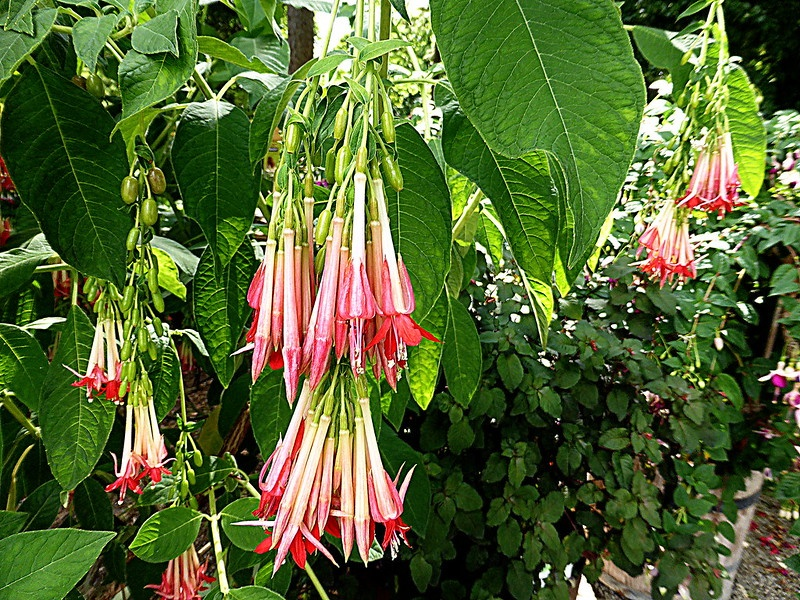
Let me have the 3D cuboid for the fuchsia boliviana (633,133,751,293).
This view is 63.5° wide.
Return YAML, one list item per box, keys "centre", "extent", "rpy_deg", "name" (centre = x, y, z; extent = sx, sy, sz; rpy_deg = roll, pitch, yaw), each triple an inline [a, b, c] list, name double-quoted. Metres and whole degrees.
- centre: [0.959, -0.230, 2.191]
  extent: [0.360, 0.354, 0.810]
  rpy_deg: [-5, 36, 26]
  name: "fuchsia boliviana"

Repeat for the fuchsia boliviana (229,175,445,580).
- centre: [-0.125, 0.156, 1.280]
  extent: [0.378, 0.812, 0.218]
  rpy_deg: [-1, 9, -13]
  name: "fuchsia boliviana"
